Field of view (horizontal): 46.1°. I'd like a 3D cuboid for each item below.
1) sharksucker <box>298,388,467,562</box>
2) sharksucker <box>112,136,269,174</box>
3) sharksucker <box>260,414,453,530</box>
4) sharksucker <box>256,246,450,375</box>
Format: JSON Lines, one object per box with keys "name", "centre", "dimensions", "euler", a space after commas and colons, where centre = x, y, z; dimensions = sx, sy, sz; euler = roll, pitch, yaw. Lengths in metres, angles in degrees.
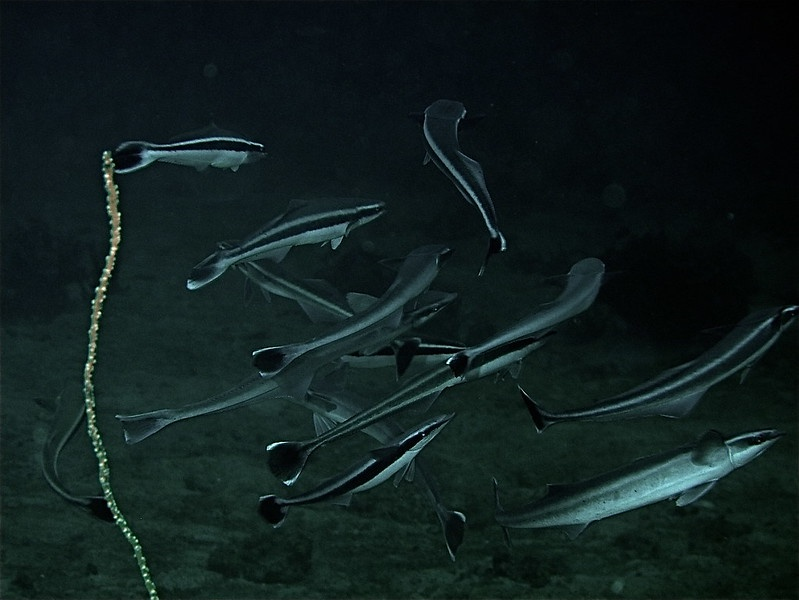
{"name": "sharksucker", "centre": [-0.179, 0.957, 5.380], "dimensions": [1.135, 0.295, 0.353], "euler": [-33, 17, 11]}
{"name": "sharksucker", "centre": [-1.227, -0.848, 5.535], "dimensions": [0.244, 0.247, 0.898], "euler": [9, 10, 38]}
{"name": "sharksucker", "centre": [-0.243, 1.035, 5.528], "dimensions": [1.677, 0.380, 0.100], "euler": [-18, 55, 3]}
{"name": "sharksucker", "centre": [-0.152, 0.109, 5.241], "dimensions": [1.324, 0.251, 0.339], "euler": [-21, -28, -10]}
